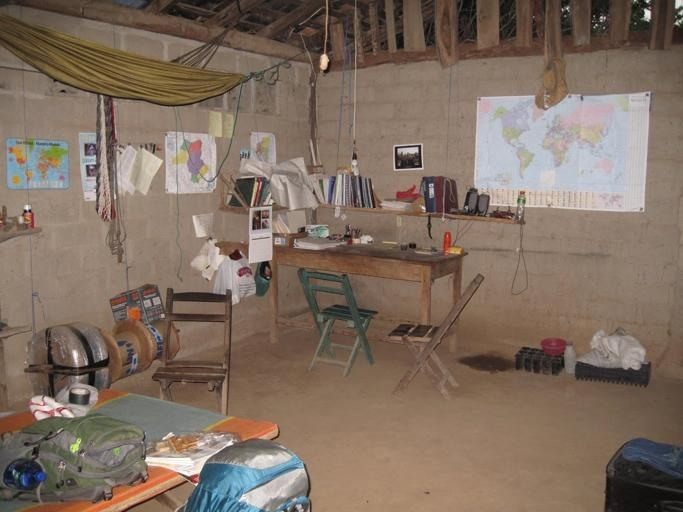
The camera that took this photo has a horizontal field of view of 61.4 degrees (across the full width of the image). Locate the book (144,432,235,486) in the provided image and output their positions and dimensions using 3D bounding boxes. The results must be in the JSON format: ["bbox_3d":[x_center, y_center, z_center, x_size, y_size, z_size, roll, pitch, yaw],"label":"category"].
[{"bbox_3d":[-0.812,1.037,3.051,0.298,0.090,0.323,8,11,23],"label":"book"}]

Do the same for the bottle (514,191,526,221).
[{"bbox_3d":[1.906,-0.516,6.095,0.098,0.300,0.144,4,14,16],"label":"bottle"}]

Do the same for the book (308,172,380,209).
[{"bbox_3d":[0.048,-0.744,6.706,0.802,0.378,0.169,6,15,21],"label":"book"}]

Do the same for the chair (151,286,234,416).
[{"bbox_3d":[-1.207,0.853,4.680,0.701,1.010,0.809,0,7,-26],"label":"chair"}]

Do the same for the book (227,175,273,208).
[{"bbox_3d":[-0.982,-0.681,6.162,0.460,0.328,0.232,-2,14,-8],"label":"book"}]

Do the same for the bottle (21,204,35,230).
[{"bbox_3d":[-2.587,-0.316,4.746,0.096,0.192,0.204,-7,16,-27],"label":"bottle"}]

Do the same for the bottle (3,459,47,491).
[{"bbox_3d":[-1.484,1.024,2.718,0.132,0.136,0.179,-10,-14,26],"label":"bottle"}]

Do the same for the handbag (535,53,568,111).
[{"bbox_3d":[2.145,-1.744,5.836,0.291,0.516,0.172,5,15,20],"label":"handbag"}]

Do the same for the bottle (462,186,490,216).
[{"bbox_3d":[1.453,-0.569,6.182,0.269,0.283,0.075,16,10,26],"label":"bottle"}]

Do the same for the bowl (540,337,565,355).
[{"bbox_3d":[2.178,0.929,5.872,0.170,0.071,0.171,-6,16,2],"label":"bowl"}]

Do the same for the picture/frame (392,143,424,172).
[{"bbox_3d":[0.794,-1.141,6.663,0.312,0.280,0.024,4,10,31],"label":"picture/frame"}]

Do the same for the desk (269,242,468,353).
[{"bbox_3d":[0.239,0.462,6.506,2.029,1.137,1.015,6,10,30],"label":"desk"}]
